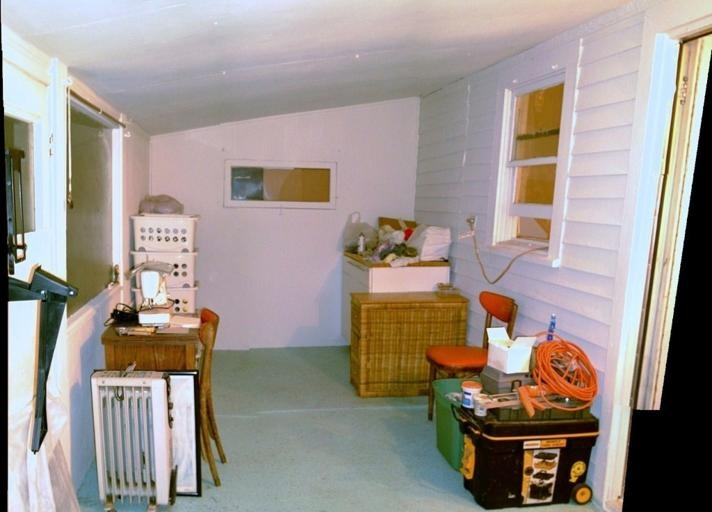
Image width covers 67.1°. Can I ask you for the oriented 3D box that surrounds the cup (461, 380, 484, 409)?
[{"bbox_3d":[0.689,0.850,3.295,0.128,0.135,0.127,1,2,0],"label":"cup"}]

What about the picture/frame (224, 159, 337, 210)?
[{"bbox_3d":[-0.823,-0.777,5.859,1.165,0.486,0.250,1,9,0],"label":"picture/frame"}]

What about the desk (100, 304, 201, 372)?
[{"bbox_3d":[-1.257,0.464,3.285,0.437,0.428,0.323,0,3,-5],"label":"desk"}]

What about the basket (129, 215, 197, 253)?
[{"bbox_3d":[-1.614,-0.194,4.511,0.449,0.245,0.320,-1,5,-16],"label":"basket"}]

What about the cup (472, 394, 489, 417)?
[{"bbox_3d":[0.727,0.888,3.185,0.092,0.066,0.092,1,6,0],"label":"cup"}]

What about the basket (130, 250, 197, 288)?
[{"bbox_3d":[-1.585,0.086,4.463,0.532,0.345,0.372,-1,4,-18],"label":"basket"}]

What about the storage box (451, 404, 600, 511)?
[{"bbox_3d":[0.993,1.164,3.372,0.766,0.603,0.517,-1,5,-6],"label":"storage box"}]

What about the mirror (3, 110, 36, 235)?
[{"bbox_3d":[-1.492,-0.354,2.408,0.080,0.513,0.371,-3,10,-26],"label":"mirror"}]

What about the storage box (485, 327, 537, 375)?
[{"bbox_3d":[0.968,0.597,3.378,0.234,0.262,0.181,-2,10,-18],"label":"storage box"}]
